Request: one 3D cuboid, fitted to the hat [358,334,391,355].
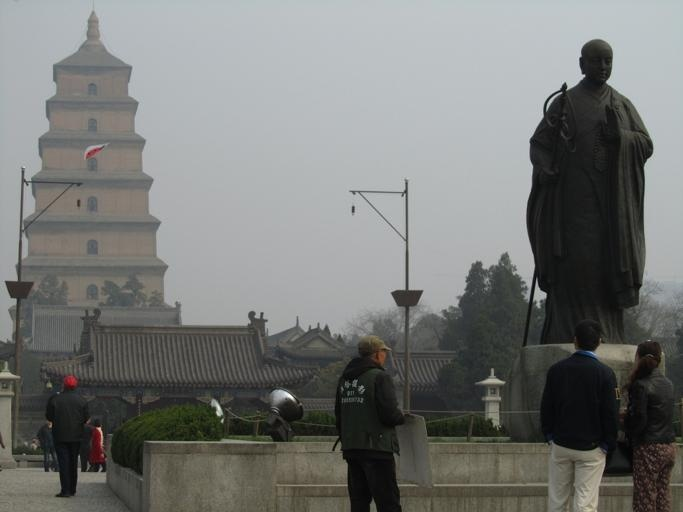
[{"bbox_3d":[0.816,2.307,51.167,0.709,0.374,0.506,-7,7,-29],"label":"hat"}]

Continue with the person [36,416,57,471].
[{"bbox_3d":[-9.681,6.211,63.956,0.617,1.629,0.509,6,-16,-40],"label":"person"}]
